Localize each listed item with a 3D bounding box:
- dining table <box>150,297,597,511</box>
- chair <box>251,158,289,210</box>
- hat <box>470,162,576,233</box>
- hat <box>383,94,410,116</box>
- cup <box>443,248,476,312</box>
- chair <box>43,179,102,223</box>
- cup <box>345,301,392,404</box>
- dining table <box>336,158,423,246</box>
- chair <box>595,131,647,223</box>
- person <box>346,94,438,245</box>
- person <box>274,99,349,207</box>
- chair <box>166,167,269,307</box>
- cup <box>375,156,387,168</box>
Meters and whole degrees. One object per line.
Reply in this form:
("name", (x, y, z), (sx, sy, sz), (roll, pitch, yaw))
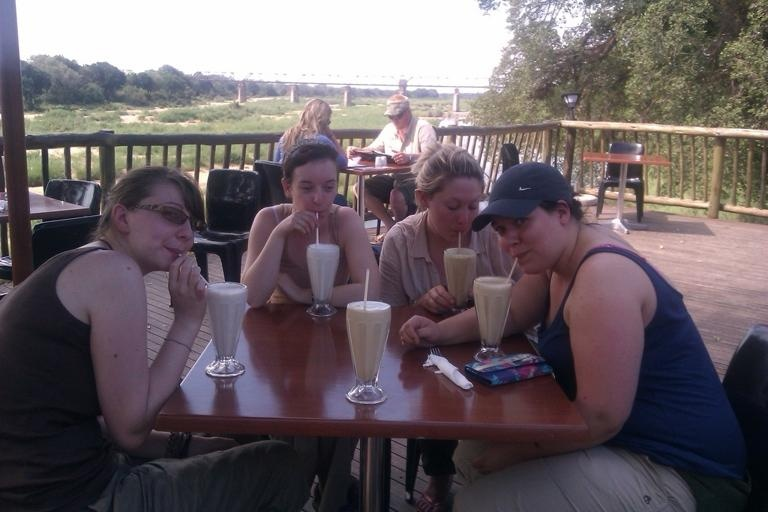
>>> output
("dining table", (-0.076, 0.251, 2.031), (0.895, 0.868, 0.891), (0, 15, 0))
("chair", (-1.026, -0.692, 5.136), (0.447, 0.539, 0.459), (-1, 11, -12))
("hat", (0.542, -0.263, 2.160), (0.424, 0.216, 0.307), (-11, 4, -32))
("hat", (0.133, -1.750, 6.332), (0.198, 0.153, 0.274), (1, 15, 22))
("cup", (0.361, 0.092, 2.476), (0.166, 0.259, 0.160), (-9, 15, 2))
("chair", (-2.511, -0.352, 4.405), (0.387, 0.447, 0.404), (10, 17, -32))
("cup", (-0.054, 0.296, 1.829), (0.139, 0.322, 0.225), (0, 11, 0))
("dining table", (-0.256, -0.595, 6.124), (1.019, 0.834, 0.985), (4, 16, 23))
("chair", (3.562, -1.105, 8.222), (0.769, 1.158, 0.767), (9, 11, 32))
("person", (0.150, -1.029, 6.616), (1.007, 1.715, 1.006), (12, 14, 32))
("person", (-0.750, -1.137, 6.124), (0.900, 1.162, 0.928), (6, 28, 8))
("chair", (-1.339, -0.131, 4.439), (0.658, 1.058, 0.655), (4, 12, 0))
("cup", (-0.044, -0.995, 5.801), (0.116, 0.098, 0.116), (0, 1, 0))
